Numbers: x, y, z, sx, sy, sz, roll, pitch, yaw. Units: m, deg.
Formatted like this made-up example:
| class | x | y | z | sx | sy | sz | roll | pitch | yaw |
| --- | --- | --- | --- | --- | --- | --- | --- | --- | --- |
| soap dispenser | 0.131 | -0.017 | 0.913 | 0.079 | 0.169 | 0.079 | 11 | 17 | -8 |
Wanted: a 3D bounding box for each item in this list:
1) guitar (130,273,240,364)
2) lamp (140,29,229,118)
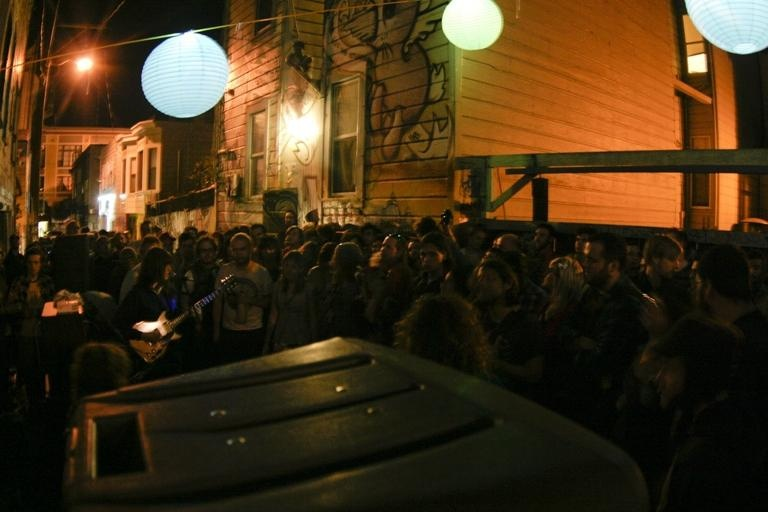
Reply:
| class | x | y | z | sx | sy | sz | roll | pitch | yaw |
| --- | --- | --- | --- | --- | --- | --- | --- | --- | --- |
| guitar | -2.356 | 0.730 | 7.639 | 1.064 | 0.849 | 0.489 | -3 | 3 | -44 |
| lamp | -2.586 | -2.341 | 8.735 | 0.952 | 1.156 | 1.036 | 1 | 5 | 9 |
